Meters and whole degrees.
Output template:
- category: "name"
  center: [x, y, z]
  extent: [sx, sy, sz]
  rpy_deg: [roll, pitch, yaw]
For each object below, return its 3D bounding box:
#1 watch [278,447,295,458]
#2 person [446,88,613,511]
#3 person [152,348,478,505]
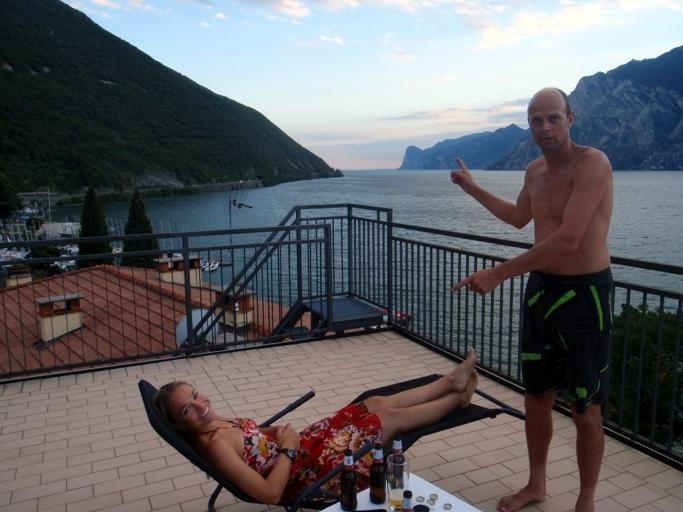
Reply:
- category: "watch"
  center: [-0.308, 1.139, 2.765]
  extent: [0.078, 0.071, 0.047]
  rpy_deg: [1, 46, 17]
- category: "person"
  center: [1.209, 0.314, 2.938]
  extent: [0.914, 2.572, 0.854]
  rpy_deg: [-3, 11, -1]
- category: "person"
  center: [-0.132, 0.899, 2.964]
  extent: [1.758, 0.545, 0.809]
  rpy_deg: [-13, 9, -17]
